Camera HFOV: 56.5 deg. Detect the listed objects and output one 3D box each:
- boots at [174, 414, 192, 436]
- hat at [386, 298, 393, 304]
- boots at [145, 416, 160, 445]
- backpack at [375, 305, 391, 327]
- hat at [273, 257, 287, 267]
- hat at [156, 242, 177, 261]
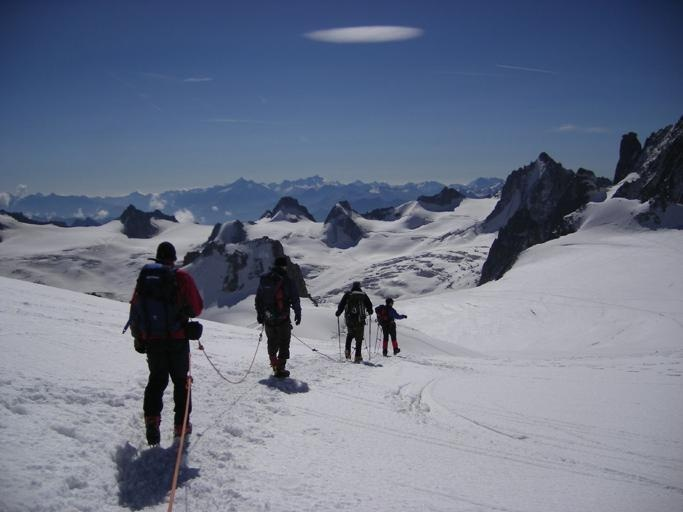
[{"bbox_3d":[-3.869,4.136,15.449,0.417,0.277,0.396,-3,-2,0],"label":"boots"},{"bbox_3d":[2.008,1.888,26.810,0.294,0.267,0.217,-8,14,-27],"label":"hat"},{"bbox_3d":[-4.497,4.132,15.074,0.382,0.675,0.252,3,2,-16],"label":"boots"},{"bbox_3d":[1.742,2.514,26.926,0.723,0.629,0.461,4,2,32],"label":"backpack"},{"bbox_3d":[-1.858,0.174,19.434,0.339,0.241,0.332,1,7,23],"label":"hat"},{"bbox_3d":[-4.367,-0.130,15.804,0.571,0.524,0.492,-2,8,-20],"label":"hat"}]
